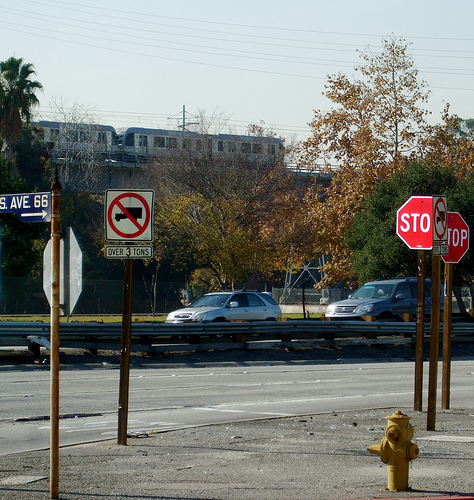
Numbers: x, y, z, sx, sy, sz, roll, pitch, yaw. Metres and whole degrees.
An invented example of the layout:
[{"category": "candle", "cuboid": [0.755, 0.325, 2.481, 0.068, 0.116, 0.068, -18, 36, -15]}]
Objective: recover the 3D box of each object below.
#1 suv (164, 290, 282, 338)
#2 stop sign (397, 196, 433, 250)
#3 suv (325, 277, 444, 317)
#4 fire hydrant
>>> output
[{"category": "suv", "cuboid": [-0.164, 1.423, 36.232, 3.355, 0.810, 1.340, 2, -1, -42]}, {"category": "stop sign", "cuboid": [2.736, -0.462, 20.722, 0.680, 0.941, 0.081, 1, 35, 6]}, {"category": "suv", "cuboid": [3.856, 1.109, 37.087, 2.349, 1.355, 3.441, -8, -6, 44]}, {"category": "fire hydrant", "cuboid": [1.966, 2.483, 17.322, 0.569, 0.984, 0.257, 0, -1, 6]}]
